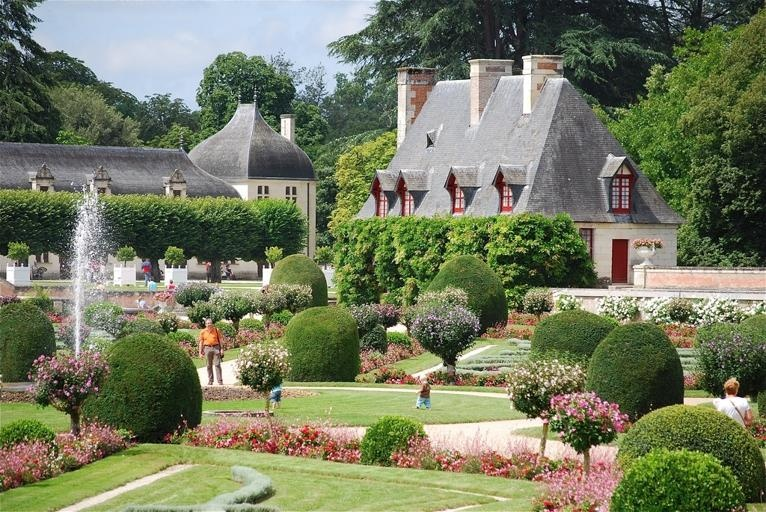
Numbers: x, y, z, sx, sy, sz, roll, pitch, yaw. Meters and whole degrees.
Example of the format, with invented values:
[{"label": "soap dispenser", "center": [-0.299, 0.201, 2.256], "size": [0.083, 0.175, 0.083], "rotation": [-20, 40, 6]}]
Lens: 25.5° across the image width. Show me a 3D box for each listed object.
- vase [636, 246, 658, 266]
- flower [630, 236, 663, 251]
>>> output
[{"label": "vase", "center": [13.368, -0.052, 85.890], "size": [1.077, 0.833, 1.067], "rotation": [1, -5, -1]}, {"label": "flower", "center": [13.458, -0.609, 86.294], "size": [1.516, 0.682, 2.067], "rotation": [-1, -4, 8]}]
